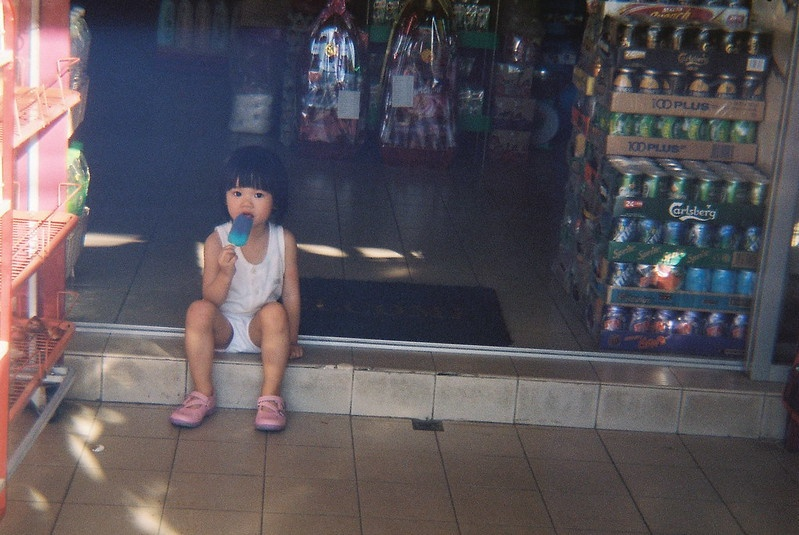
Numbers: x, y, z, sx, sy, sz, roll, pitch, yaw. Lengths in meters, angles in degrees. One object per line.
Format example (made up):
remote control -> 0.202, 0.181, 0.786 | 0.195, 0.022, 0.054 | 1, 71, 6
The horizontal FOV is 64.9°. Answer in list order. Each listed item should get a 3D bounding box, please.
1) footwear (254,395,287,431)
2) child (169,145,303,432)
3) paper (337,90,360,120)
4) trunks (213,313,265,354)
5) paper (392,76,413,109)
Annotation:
footwear -> -0.599, 0.670, 2.913 | 0.104, 0.078, 0.195 | 1, 14, -6
child -> -0.768, 0.082, 2.963 | 0.597, 1.256, 0.628 | -1, 18, -9
paper -> -0.299, -0.946, 3.656 | 0.175, 0.145, 0.039 | -1, 6, -20
trunks -> -0.776, 0.319, 3.133 | 0.205, 0.185, 0.065 | 1, 8, -2
paper -> 0.012, -1.063, 3.806 | 0.184, 0.173, 0.044 | 1, 4, -11
